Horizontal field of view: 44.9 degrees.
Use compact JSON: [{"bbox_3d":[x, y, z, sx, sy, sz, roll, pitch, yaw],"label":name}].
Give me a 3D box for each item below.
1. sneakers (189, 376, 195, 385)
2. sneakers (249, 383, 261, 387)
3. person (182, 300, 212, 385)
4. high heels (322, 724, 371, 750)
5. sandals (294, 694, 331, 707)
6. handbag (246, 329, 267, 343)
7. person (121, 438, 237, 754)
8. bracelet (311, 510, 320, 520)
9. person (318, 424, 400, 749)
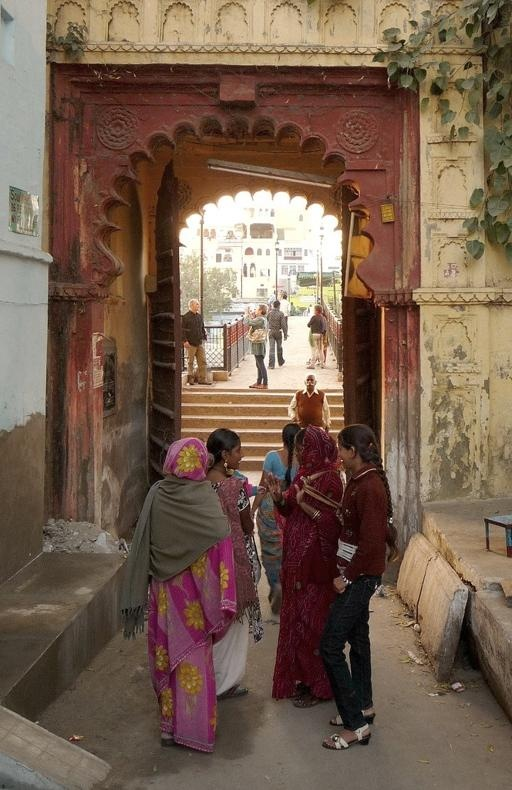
[{"bbox_3d":[-1.244,-0.282,11.792,0.104,0.220,0.138,-2,-5,17],"label":"sneakers"},{"bbox_3d":[-0.016,-0.177,11.309,0.175,0.091,0.084,1,0,-11],"label":"sneakers"},{"bbox_3d":[-1.099,-1.005,11.497,0.526,1.553,1.870,0,-6,-5],"label":"person"},{"bbox_3d":[0.331,1.225,2.210,0.137,0.083,0.078,2,0,-11],"label":"high heels"},{"bbox_3d":[0.220,1.293,2.639,0.111,0.035,0.048,5,-3,-11],"label":"sandals"},{"bbox_3d":[0.026,-1.137,11.862,0.223,0.246,0.300,-2,1,-1],"label":"handbag"},{"bbox_3d":[-0.279,0.708,2.239,0.405,1.099,0.236,0,-5,0],"label":"person"},{"bbox_3d":[0.248,0.499,2.587,0.022,0.031,0.028,3,7,-18],"label":"bracelet"},{"bbox_3d":[0.387,0.696,2.330,0.268,1.169,0.408,-1,-6,14],"label":"person"}]
